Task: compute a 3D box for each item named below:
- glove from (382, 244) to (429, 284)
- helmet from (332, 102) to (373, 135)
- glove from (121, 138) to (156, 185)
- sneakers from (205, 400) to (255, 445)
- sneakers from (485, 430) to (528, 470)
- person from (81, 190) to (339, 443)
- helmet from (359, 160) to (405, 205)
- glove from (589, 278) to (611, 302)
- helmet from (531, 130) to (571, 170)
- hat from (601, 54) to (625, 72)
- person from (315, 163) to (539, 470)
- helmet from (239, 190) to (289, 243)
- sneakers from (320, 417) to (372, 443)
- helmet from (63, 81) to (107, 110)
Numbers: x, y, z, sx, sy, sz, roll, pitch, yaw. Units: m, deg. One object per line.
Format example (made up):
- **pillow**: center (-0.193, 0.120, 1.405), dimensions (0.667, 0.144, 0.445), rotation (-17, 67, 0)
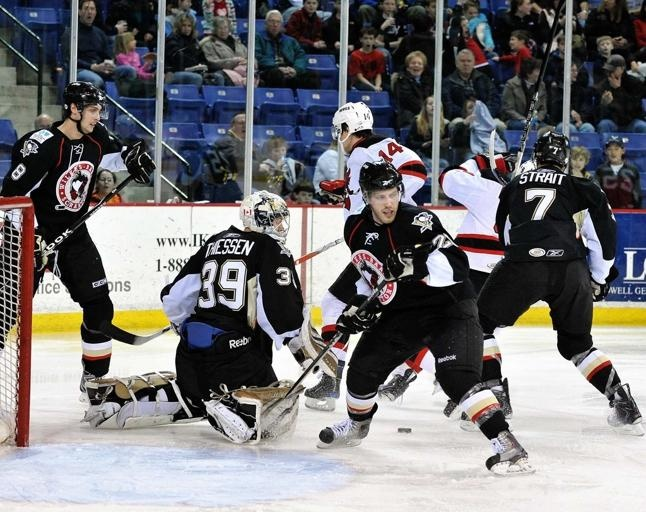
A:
- **glove**: center (0.343, 0.030, 3.868), dimensions (0.192, 0.133, 0.076), rotation (-4, 36, -27)
- **helmet**: center (0.181, -0.801, 5.442), dimensions (0.183, 0.174, 0.218), rotation (-6, 19, -42)
- **glove**: center (-1.010, -0.507, 5.075), dimensions (0.115, 0.195, 0.233), rotation (-26, 24, 0)
- **sneakers**: center (-0.415, 0.732, 4.275), dimensions (0.235, 0.160, 0.086), rotation (36, 31, 18)
- **sneakers**: center (0.756, 0.810, 3.894), dimensions (0.217, 0.158, 0.096), rotation (-2, -7, -12)
- **person**: center (-0.540, 0.268, 4.791), dimensions (1.379, 1.179, 0.889), rotation (-3, 12, -42)
- **helmet**: center (0.243, -0.326, 4.073), dimensions (0.171, 0.180, 0.198), rotation (-7, -9, -13)
- **glove**: center (1.409, 0.170, 4.778), dimensions (0.095, 0.109, 0.042), rotation (0, 15, -9)
- **helmet**: center (1.149, -0.546, 4.813), dimensions (0.189, 0.189, 0.206), rotation (9, 9, 11)
- **hat**: center (2.700, -1.787, 8.653), dimensions (0.223, 0.099, 0.140), rotation (-2, 23, -21)
- **person**: center (0.447, 0.235, 4.039), dimensions (0.944, 1.283, 0.272), rotation (3, 7, 28)
- **helmet**: center (-0.282, -0.193, 4.613), dimensions (0.281, 0.229, 0.208), rotation (-1, 7, -7)
- **sneakers**: center (0.107, 0.800, 4.297), dimensions (0.241, 0.146, 0.074), rotation (1, 45, -35)
- **helmet**: center (-1.232, -0.830, 4.818), dimensions (0.192, 0.133, 0.148), rotation (-10, 10, -18)
